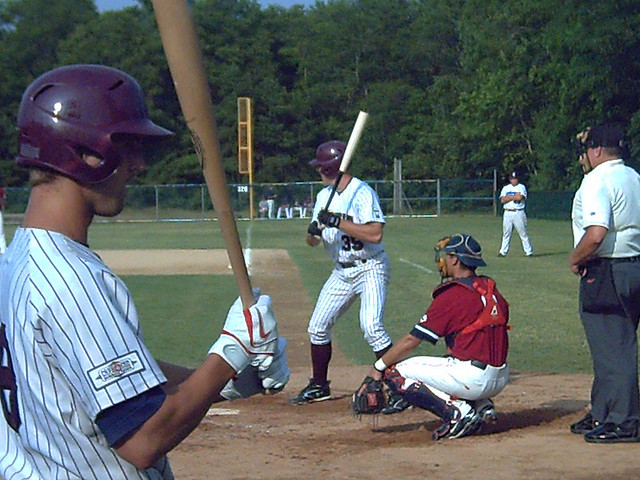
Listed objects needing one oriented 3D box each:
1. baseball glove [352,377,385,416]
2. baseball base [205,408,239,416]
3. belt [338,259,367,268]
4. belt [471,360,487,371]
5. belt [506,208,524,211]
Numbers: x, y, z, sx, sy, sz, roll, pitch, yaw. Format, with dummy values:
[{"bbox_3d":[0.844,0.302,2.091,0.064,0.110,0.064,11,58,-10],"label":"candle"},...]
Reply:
[{"bbox_3d":[0.858,2.751,20.350,0.602,0.429,0.306,-28,25,-36],"label":"baseball glove"},{"bbox_3d":[-1.721,3.086,21.035,0.576,0.087,0.443,-1,1,-6],"label":"baseball base"},{"bbox_3d":[0.605,0.456,21.216,0.461,0.146,0.089,-1,1,7],"label":"belt"},{"bbox_3d":[2.676,2.129,19.869,0.250,0.157,0.021,-1,1,1],"label":"belt"},{"bbox_3d":[5.238,-0.753,31.829,0.413,0.039,0.106,-1,1,-3],"label":"belt"}]
